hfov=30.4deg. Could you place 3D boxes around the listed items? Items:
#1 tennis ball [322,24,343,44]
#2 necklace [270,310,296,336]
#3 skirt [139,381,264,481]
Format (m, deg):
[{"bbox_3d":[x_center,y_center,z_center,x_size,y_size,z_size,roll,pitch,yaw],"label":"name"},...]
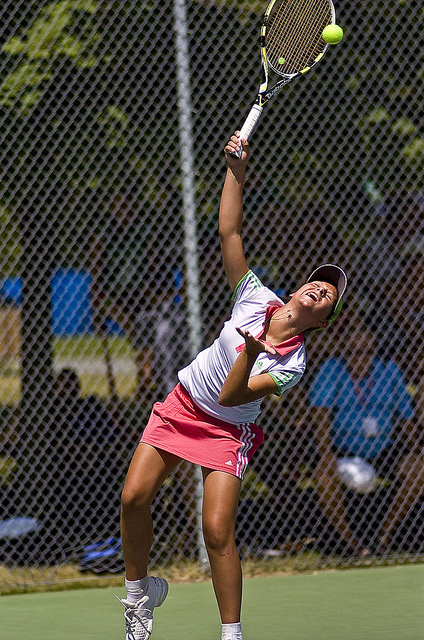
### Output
[{"bbox_3d":[0.498,-1.184,3.226,0.089,0.082,0.076,10,72,18],"label":"tennis ball"},{"bbox_3d":[0.253,0.001,2.594,0.052,0.053,0.102,-41,62,-21],"label":"necklace"},{"bbox_3d":[-0.034,0.378,2.711,0.415,0.153,0.249,23,59,19],"label":"skirt"}]
